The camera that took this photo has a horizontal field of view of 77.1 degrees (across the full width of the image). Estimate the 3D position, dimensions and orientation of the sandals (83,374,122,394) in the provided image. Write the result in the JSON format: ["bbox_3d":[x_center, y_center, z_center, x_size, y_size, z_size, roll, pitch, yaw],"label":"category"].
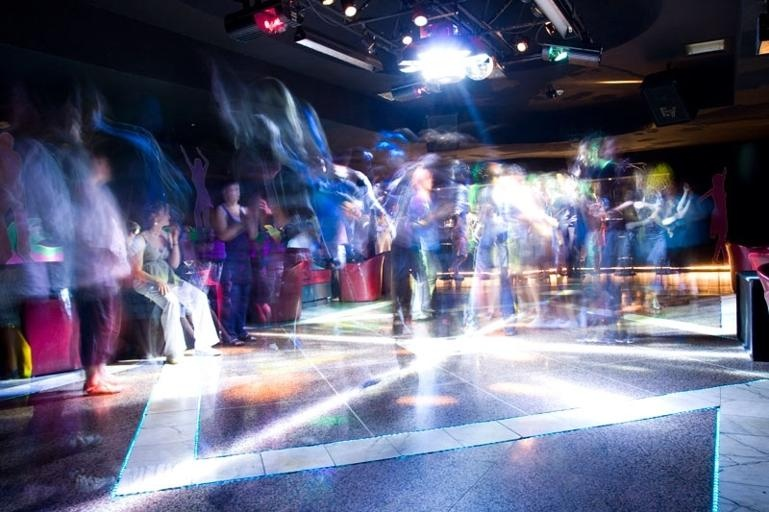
[{"bbox_3d":[-2.581,1.159,4.402,0.307,0.181,0.194,-5,9,-20],"label":"sandals"}]

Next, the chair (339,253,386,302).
[{"bbox_3d":[-0.501,0.452,10.316,1.179,0.986,0.910,-6,-8,20],"label":"chair"}]

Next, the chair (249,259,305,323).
[{"bbox_3d":[-1.704,0.591,7.757,0.988,1.027,0.808,1,-2,-3],"label":"chair"}]
